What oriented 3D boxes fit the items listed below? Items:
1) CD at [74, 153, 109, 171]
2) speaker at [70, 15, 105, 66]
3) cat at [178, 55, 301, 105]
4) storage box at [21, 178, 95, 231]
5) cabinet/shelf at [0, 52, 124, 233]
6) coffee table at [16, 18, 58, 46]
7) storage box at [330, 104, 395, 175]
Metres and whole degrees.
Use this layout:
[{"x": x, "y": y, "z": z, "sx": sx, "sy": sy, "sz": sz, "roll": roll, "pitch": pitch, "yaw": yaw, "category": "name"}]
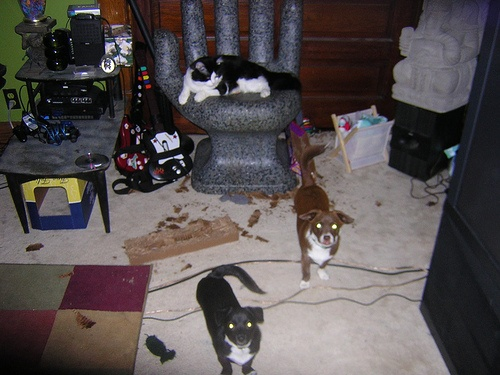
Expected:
[{"x": -1.008, "y": -0.172, "z": 2.524, "sx": 0.130, "sy": 0.038, "sz": 0.131, "roll": 3, "pitch": 39, "yaw": -10, "category": "CD"}, {"x": -1.242, "y": -1.133, "z": 2.984, "sx": 0.244, "sy": 0.368, "sz": 0.242, "roll": 3, "pitch": 41, "yaw": -14, "category": "speaker"}, {"x": -0.078, "y": -0.791, "z": 2.798, "sx": 0.742, "sy": 0.277, "sz": 0.388, "roll": -26, "pitch": 35, "yaw": -23, "category": "cat"}, {"x": -1.279, "y": 0.058, "z": 2.729, "sx": 0.374, "sy": 0.292, "sz": 0.386, "roll": 3, "pitch": 40, "yaw": -5, "category": "storage box"}, {"x": -1.226, "y": -0.353, "z": 3.016, "sx": 0.726, "sy": 0.896, "sz": 1.307, "roll": 0, "pitch": 58, "yaw": -12, "category": "cabinet/shelf"}, {"x": -1.605, "y": -1.156, "z": 2.992, "sx": 0.244, "sy": 0.195, "sz": 0.336, "roll": -4, "pitch": 31, "yaw": -6, "category": "coffee table"}, {"x": 0.942, "y": -0.412, "z": 3.371, "sx": 0.418, "sy": 0.399, "sz": 0.347, "roll": -14, "pitch": 33, "yaw": -21, "category": "storage box"}]
